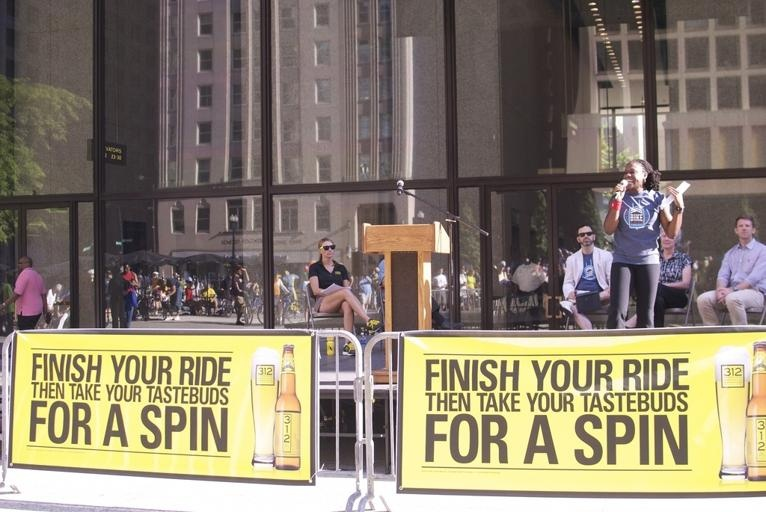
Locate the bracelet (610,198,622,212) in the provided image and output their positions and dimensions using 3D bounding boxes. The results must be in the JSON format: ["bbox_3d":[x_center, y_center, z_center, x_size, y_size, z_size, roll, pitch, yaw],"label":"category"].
[{"bbox_3d":[3.286,-0.788,22.476,0.154,0.165,0.161,3,4,26],"label":"bracelet"}]

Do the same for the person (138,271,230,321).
[{"bbox_3d":[-3.261,0.629,26.559,1.439,0.883,0.743,1,-5,8],"label":"person"}]

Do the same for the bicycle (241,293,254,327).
[{"bbox_3d":[-2.187,0.836,26.138,0.280,0.480,0.191,8,-1,7],"label":"bicycle"}]

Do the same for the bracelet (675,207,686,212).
[{"bbox_3d":[4.203,-0.715,22.497,0.133,0.102,0.175,3,-1,10],"label":"bracelet"}]

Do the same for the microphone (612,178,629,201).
[{"bbox_3d":[3.349,-1.002,22.425,0.120,0.418,0.130,23,-2,45],"label":"microphone"}]

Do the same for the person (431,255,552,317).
[{"bbox_3d":[2.086,0.473,25.345,1.063,1.098,0.831,2,3,19],"label":"person"}]

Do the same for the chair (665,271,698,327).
[{"bbox_3d":[4.702,0.725,24.648,0.595,0.889,0.477,4,-5,-27],"label":"chair"}]

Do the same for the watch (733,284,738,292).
[{"bbox_3d":[5.457,0.459,24.602,0.100,0.103,0.025,2,-7,-5],"label":"watch"}]

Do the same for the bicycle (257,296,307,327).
[{"bbox_3d":[-1.657,0.889,25.961,0.823,0.541,0.432,-1,-3,3],"label":"bicycle"}]

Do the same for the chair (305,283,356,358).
[{"bbox_3d":[-0.842,0.963,24.506,0.665,1.137,1.549,-1,-5,-15],"label":"chair"}]

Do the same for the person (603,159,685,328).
[{"bbox_3d":[3.610,0.034,22.514,0.925,2.934,0.878,2,10,7],"label":"person"}]
